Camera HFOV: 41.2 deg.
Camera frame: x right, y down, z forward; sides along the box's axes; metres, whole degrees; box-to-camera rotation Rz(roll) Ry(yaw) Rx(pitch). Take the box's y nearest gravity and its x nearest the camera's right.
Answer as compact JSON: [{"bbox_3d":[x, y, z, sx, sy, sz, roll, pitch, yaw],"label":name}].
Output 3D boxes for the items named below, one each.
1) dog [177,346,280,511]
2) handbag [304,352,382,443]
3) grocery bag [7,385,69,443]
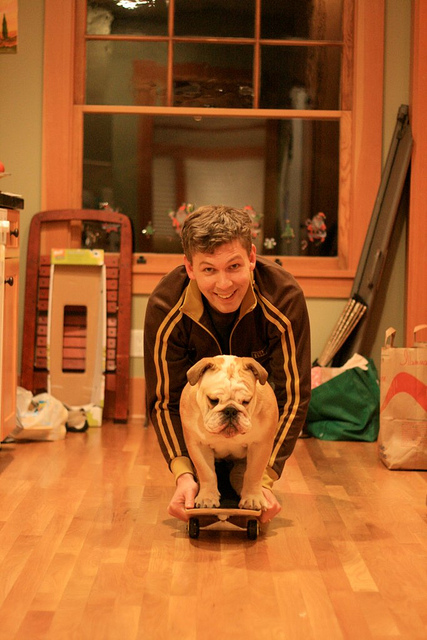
[{"bbox_3d":[0.037,0.286,1.520,0.217,0.394,0.554,0,-3,1],"label":"dog"},{"bbox_3d":[0.658,0.393,2.872,0.371,0.405,0.330,2,14,17],"label":"handbag"},{"bbox_3d":[-0.839,0.466,2.738,0.259,0.172,0.261,1,0,-15],"label":"grocery bag"}]
